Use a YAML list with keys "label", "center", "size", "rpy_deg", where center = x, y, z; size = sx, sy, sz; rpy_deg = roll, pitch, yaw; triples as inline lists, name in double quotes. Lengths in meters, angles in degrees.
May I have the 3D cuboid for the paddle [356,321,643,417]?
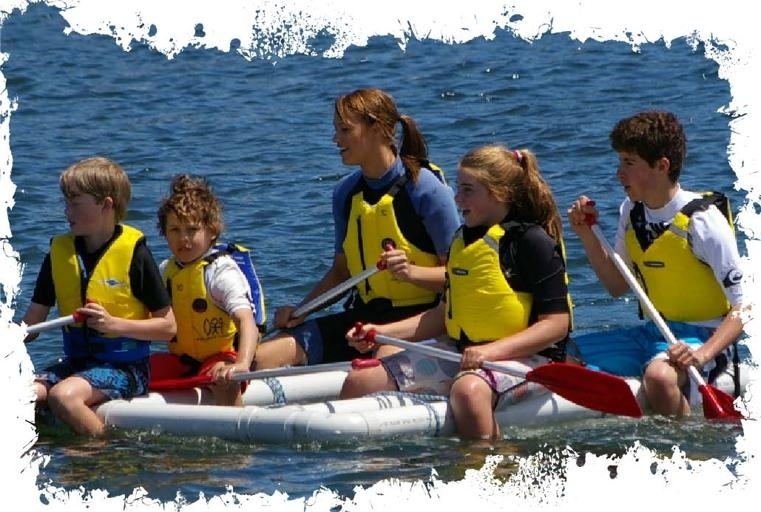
- label: "paddle"
  center: [0.867, 0.816, 9.360]
  size: [2.301, 0.293, 0.237]
  rpy_deg: [14, 25, 25]
